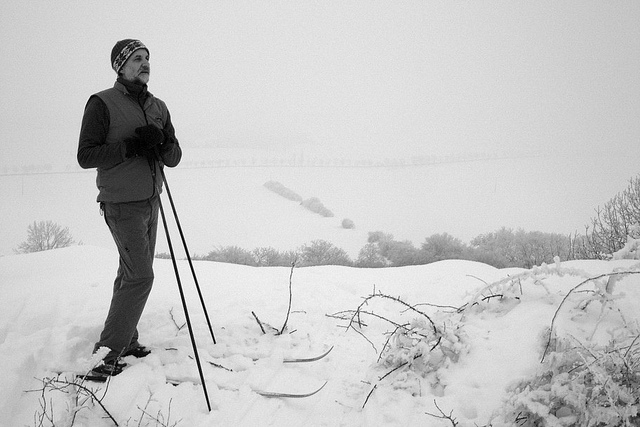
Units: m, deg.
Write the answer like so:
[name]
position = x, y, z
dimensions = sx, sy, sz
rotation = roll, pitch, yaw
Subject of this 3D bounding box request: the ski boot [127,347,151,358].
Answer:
[ski boot]
position = -4.113, 3.138, 10.814
dimensions = 0.481, 0.259, 0.176
rotation = -9, 6, -12

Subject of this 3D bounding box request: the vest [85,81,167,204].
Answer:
[vest]
position = -4.311, -1.617, 10.737
dimensions = 1.461, 2.772, 0.477
rotation = -1, -4, -4
